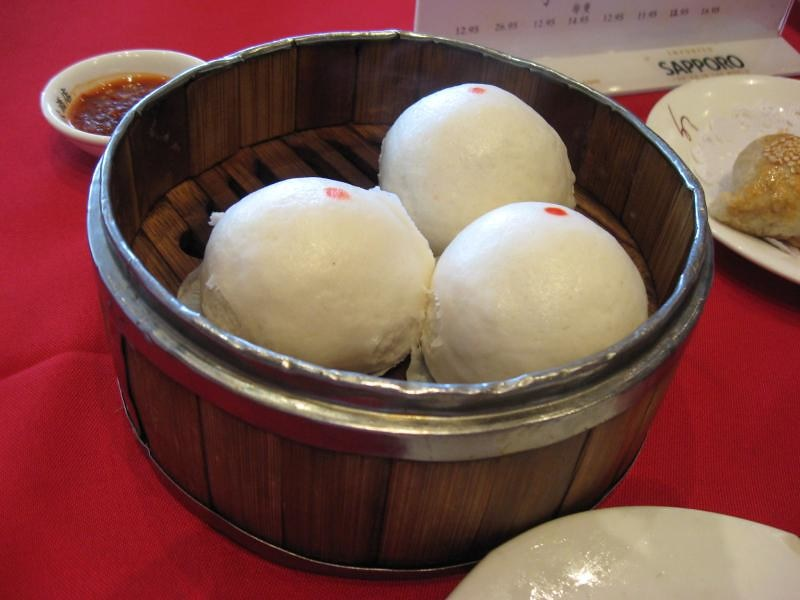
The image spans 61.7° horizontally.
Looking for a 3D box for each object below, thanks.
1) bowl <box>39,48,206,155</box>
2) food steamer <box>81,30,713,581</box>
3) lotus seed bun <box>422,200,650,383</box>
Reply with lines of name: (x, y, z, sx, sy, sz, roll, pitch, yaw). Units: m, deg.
bowl: (-0.479, -0.306, 1.165, 0.219, 0.070, 0.230, 4, 41, -4)
food steamer: (0.003, -0.060, 0.872, 0.716, 0.327, 0.690, -12, 45, -14)
lotus seed bun: (0.136, -0.005, 0.729, 0.177, 0.126, 0.233, -2, 57, 14)
